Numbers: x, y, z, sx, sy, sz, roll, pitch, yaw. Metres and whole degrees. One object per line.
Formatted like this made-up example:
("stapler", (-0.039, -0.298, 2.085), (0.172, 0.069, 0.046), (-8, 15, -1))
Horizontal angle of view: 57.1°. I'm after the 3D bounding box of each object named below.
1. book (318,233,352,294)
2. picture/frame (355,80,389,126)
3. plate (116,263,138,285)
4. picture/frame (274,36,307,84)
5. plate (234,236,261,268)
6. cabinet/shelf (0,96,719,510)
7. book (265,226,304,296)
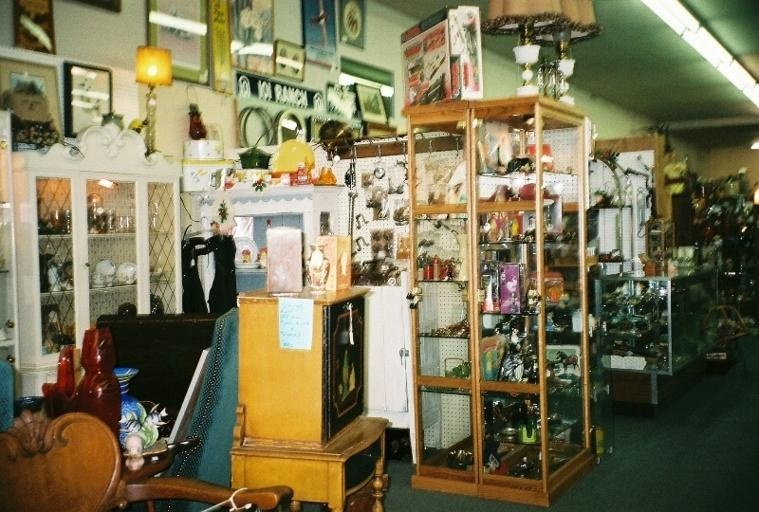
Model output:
("book", (-0.286, 0.030, 5.001), (0.240, 0.351, 0.247), (3, 7, 21))
("picture/frame", (-0.141, -2.106, 9.632), (0.059, 0.533, 0.746), (-3, 6, 23))
("plate", (-2.309, 0.158, 6.310), (0.189, 0.186, 0.142), (0, 3, -11))
("picture/frame", (-1.082, -2.317, 8.264), (0.063, 0.412, 0.543), (-15, 32, -42))
("plate", (-1.333, -0.049, 6.900), (0.285, 0.293, 0.069), (2, 7, 6))
("cabinet/shelf", (-0.279, 0.402, 5.712), (3.504, 3.376, 1.957), (1, 3, 24))
("book", (-0.664, 0.047, 4.912), (0.298, 0.451, 0.306), (-1, -1, 16))
